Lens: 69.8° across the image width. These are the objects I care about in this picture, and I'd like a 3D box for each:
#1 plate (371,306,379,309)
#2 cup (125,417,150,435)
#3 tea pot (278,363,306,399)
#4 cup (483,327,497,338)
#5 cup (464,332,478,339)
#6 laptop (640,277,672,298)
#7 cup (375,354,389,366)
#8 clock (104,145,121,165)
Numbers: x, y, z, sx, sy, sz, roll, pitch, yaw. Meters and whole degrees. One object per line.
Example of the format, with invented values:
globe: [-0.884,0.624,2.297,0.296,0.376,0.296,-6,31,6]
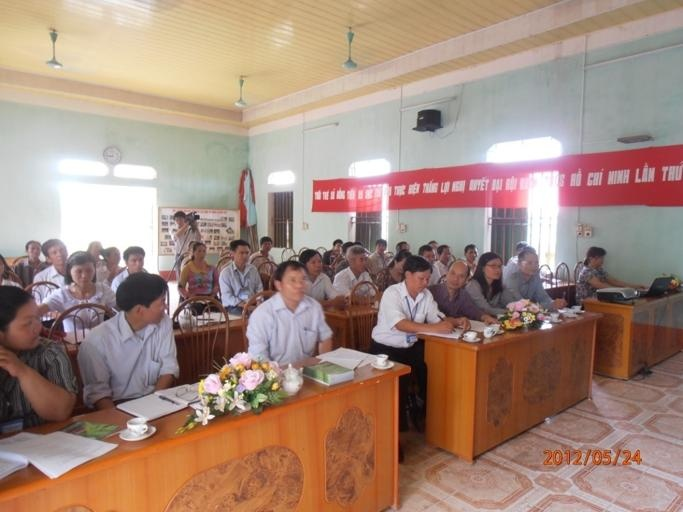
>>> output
plate: [0.317,0.475,4.534,0.047,0.013,0.051,2,3,43]
cup: [-0.951,0.787,2.276,0.080,0.041,0.064,6,-6,-18]
tea pot: [-0.270,0.654,2.610,0.143,0.156,0.130,-3,5,0]
cup: [1.046,0.539,3.439,0.092,0.085,0.060,2,-2,-6]
cup: [0.892,0.542,3.357,0.064,0.031,0.054,-10,-6,37]
laptop: [3.205,0.311,5.001,0.303,0.205,0.215,-2,7,-29]
cup: [0.241,0.625,2.935,0.052,0.048,0.067,-1,-7,-4]
clock: [-4.187,-1.815,9.025,0.291,0.314,0.303,-2,-8,7]
